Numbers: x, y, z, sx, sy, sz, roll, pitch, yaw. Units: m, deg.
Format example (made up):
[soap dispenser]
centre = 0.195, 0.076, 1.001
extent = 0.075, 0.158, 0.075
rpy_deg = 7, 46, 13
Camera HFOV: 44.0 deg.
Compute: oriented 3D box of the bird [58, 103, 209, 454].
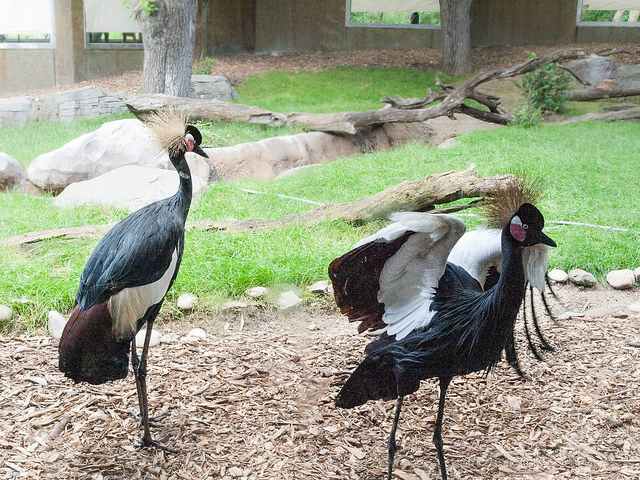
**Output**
[bird]
centre = -1.548, 0.359, 6.784
extent = 0.751, 2.791, 1.274
rpy_deg = 12, 20, 38
